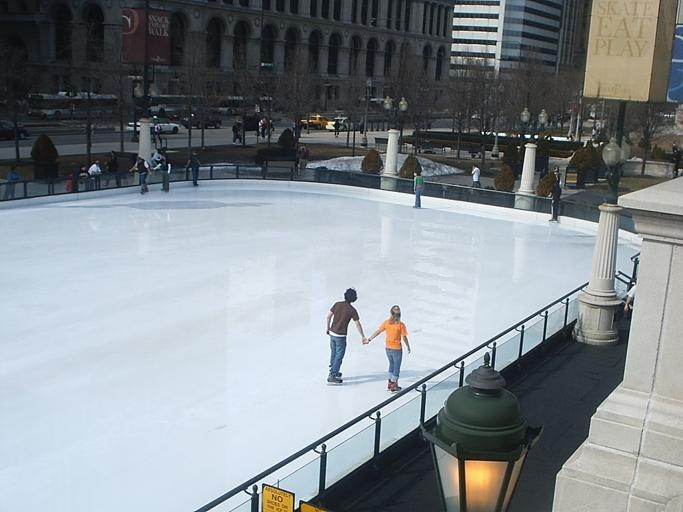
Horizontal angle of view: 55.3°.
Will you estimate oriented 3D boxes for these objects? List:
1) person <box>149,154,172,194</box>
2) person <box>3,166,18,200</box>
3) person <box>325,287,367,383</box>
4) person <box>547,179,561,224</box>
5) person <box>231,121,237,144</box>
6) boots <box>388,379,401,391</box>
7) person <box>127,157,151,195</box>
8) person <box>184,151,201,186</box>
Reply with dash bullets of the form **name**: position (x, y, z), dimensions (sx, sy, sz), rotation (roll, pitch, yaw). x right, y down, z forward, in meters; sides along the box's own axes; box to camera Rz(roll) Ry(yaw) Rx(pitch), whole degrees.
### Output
- **person**: position (-9.141, -4.613, 33.332), dimensions (0.837, 1.408, 3.202), rotation (3, 28, -19)
- **person**: position (-13.747, -3.074, 27.053), dimensions (0.504, 1.209, 1.636), rotation (-2, 15, -26)
- **person**: position (0.055, 1.552, 12.525), dimensions (0.688, 1.938, 0.903), rotation (4, 13, 0)
- **person**: position (9.390, -2.382, 28.542), dimensions (0.422, 1.832, 0.555), rotation (8, 13, 16)
- **person**: position (-8.222, -9.492, 50.316), dimensions (0.296, 1.520, 1.027), rotation (1, 13, -14)
- **boots**: position (1.026, 2.454, 12.322), dimensions (0.294, 0.211, 0.121), rotation (-8, 17, -34)
- **person**: position (-9.683, -3.856, 31.364), dimensions (0.802, 1.606, 1.203), rotation (0, 14, -17)
- **person**: position (-7.740, -4.437, 33.831), dimensions (0.680, 1.633, 0.738), rotation (1, 13, -15)
